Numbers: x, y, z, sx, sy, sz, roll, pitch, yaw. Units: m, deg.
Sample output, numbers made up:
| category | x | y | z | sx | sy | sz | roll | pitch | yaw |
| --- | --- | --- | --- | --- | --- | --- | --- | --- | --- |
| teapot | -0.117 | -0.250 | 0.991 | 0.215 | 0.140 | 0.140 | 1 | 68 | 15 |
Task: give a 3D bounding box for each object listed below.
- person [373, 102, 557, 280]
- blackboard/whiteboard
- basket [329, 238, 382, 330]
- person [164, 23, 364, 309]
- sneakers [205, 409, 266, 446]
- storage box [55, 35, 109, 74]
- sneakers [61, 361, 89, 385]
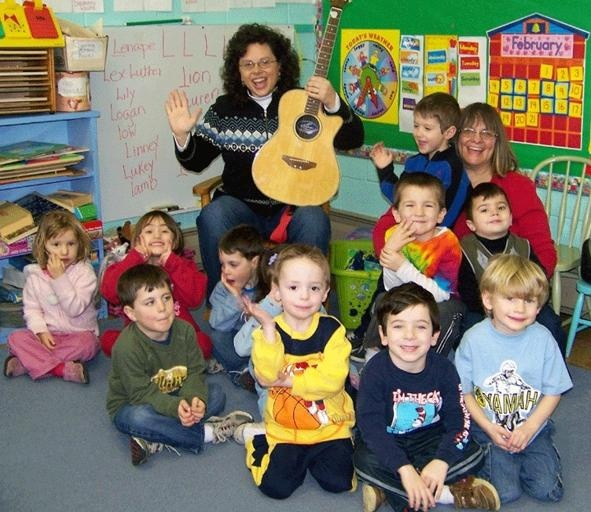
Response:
| category | x | y | z | sx | sy | sz | roll | pitch | yaw |
| --- | --- | --- | --- | --- | --- | --- | --- | --- | --- |
| person | 0.798 | -0.089 | 2.474 | 0.733 | 1.145 | 0.598 | 2 | 10 | 35 |
| blackboard/whiteboard | -0.691 | -0.754 | 3.115 | 0.370 | 1.115 | 1.565 | 9 | 17 | 41 |
| basket | 0.255 | 0.090 | 3.070 | 0.365 | 0.612 | 0.473 | 1 | 7 | 1 |
| person | -0.179 | -0.391 | 2.799 | 0.887 | 1.929 | 0.601 | 0 | -12 | -5 |
| sneakers | -0.196 | 0.628 | 2.036 | 0.247 | 0.099 | 0.112 | -9 | 6 | 3 |
| storage box | -1.100 | -1.005 | 2.760 | 0.255 | 0.161 | 0.251 | -17 | 25 | -38 |
| sneakers | -0.967 | 0.510 | 2.418 | 0.061 | 0.067 | 0.142 | -6 | 8 | -42 |
